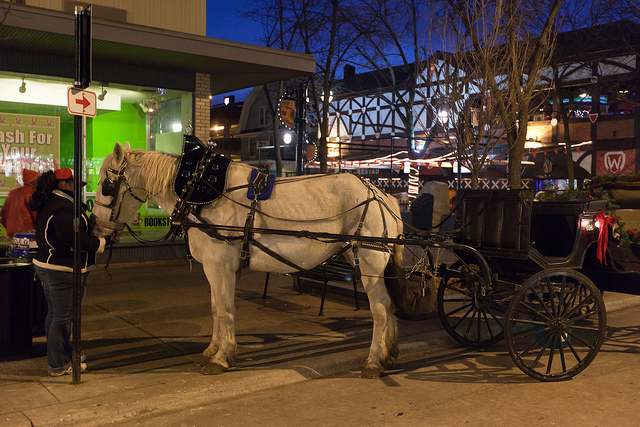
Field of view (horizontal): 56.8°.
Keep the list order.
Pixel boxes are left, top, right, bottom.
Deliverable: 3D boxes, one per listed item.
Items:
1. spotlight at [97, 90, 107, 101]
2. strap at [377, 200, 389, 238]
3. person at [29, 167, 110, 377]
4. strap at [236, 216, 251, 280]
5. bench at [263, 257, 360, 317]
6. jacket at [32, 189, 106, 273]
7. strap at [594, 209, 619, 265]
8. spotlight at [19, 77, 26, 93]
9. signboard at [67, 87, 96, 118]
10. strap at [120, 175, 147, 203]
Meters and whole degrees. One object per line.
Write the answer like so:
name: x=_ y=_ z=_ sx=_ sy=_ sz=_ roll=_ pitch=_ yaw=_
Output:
spotlight: x=-6.577 y=-3.526 z=17.870 sx=0.074 sy=0.158 sz=0.306 roll=6 pitch=50 yaw=37
strap: x=1.018 y=0.147 z=9.523 sx=0.098 sy=0.695 sz=0.084 roll=-2 pitch=-3 yaw=-39
person: x=-3.925 y=0.897 z=9.204 sx=0.952 sy=3.111 sz=1.271 roll=-5 pitch=13 yaw=-26
strap: x=-1.192 y=0.587 z=9.239 sx=0.151 sy=1.057 sz=0.186 roll=8 pitch=7 yaw=-21
bench: x=-0.143 y=1.323 z=12.051 sx=0.827 sy=1.218 sz=1.928 roll=11 pitch=-6 yaw=-38
jacket: x=-4.034 y=0.277 z=9.585 sx=1.112 sy=1.308 sz=1.249 roll=3 pitch=2 yaw=-33
strap: x=4.907 y=0.412 z=10.188 sx=0.402 sy=0.835 sz=0.125 roll=8 pitch=-4 yaw=3
spotlight: x=-8.298 y=-3.539 z=16.486 sx=0.177 sy=0.393 sz=0.076 roll=-6 pitch=14 yaw=-32
signboard: x=-3.528 y=-1.643 z=8.816 sx=0.449 sy=0.357 sz=0.063 roll=6 pitch=9 yaw=7
strap: x=-3.073 y=-0.378 z=9.631 sx=0.104 sy=0.422 sz=0.278 roll=-34 pitch=34 yaw=1
